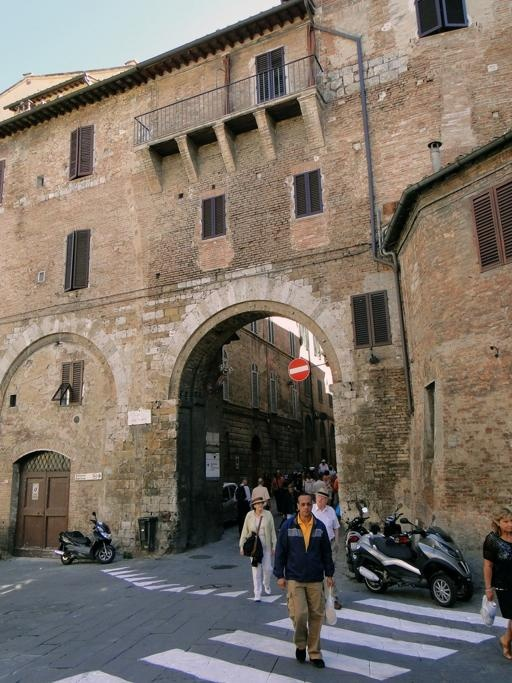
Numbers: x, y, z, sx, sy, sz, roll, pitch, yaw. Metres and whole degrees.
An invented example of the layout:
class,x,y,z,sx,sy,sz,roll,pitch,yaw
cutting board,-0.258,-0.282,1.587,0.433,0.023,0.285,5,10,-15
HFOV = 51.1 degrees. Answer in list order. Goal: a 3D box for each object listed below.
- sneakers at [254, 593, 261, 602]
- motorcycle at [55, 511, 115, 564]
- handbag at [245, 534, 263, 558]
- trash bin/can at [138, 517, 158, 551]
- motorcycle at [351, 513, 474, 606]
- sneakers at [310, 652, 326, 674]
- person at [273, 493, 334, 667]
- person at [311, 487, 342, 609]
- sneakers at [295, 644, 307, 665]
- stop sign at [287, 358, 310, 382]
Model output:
class,x,y,z,sx,sy,sz,roll,pitch,yaw
sneakers,0.024,3.304,6.939,0.050,0.107,0.151,0,-3,11
motorcycle,-3.868,4.483,12.134,1.410,1.025,0.538,-8,-22,17
handbag,-0.026,2.659,6.989,0.125,0.217,0.250,-5,22,18
trash bin/can,-2.536,4.453,12.359,0.492,0.800,0.353,-6,-13,6
motorcycle,1.901,2.707,6.707,0.675,0.952,1.489,26,-26,-32
sneakers,0.462,2.429,4.047,0.073,0.084,0.198,-1,-23,-2
person,0.400,1.944,4.398,0.477,1.306,0.371,-1,-3,-6
person,0.844,2.471,6.835,0.384,1.232,0.373,2,20,11
sneakers,0.354,2.462,4.220,0.073,0.082,0.201,0,-31,-1
stop sign,1.054,0.628,12.860,0.522,0.553,0.547,-11,-14,26
